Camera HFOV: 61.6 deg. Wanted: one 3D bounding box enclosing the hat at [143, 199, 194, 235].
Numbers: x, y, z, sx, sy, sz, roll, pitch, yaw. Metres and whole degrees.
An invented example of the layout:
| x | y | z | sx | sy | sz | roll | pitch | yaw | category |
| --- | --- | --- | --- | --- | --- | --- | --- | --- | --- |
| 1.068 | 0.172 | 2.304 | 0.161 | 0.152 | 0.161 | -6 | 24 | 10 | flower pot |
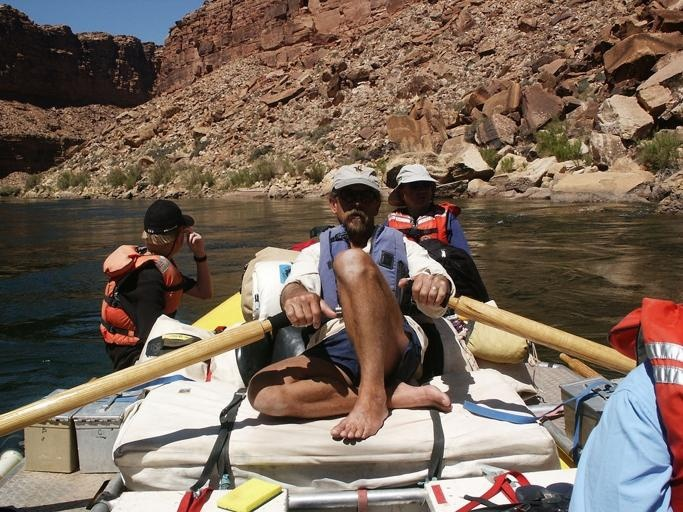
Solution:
| x | y | z | sx | sy | sz | roll | pitch | yaw | category |
| --- | --- | --- | --- | --- | --- | --- | --- | --- | --- |
| -1.006 | -0.223 | 3.290 | 0.221 | 0.131 | 0.293 | 5 | 17 | 22 | hat |

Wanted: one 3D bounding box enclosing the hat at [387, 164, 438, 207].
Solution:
| x | y | z | sx | sy | sz | roll | pitch | yaw | category |
| --- | --- | --- | --- | --- | --- | --- | --- | --- | --- |
| 0.471 | -0.506 | 3.818 | 0.321 | 0.148 | 0.341 | -3 | -14 | -5 | hat |

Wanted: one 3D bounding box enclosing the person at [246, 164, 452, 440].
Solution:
| x | y | z | sx | sy | sz | roll | pitch | yaw | category |
| --- | --- | --- | --- | --- | --- | --- | --- | --- | --- |
| 0.064 | 0.127 | 2.562 | 0.861 | 1.114 | 0.880 | -2 | 6 | 9 | person |

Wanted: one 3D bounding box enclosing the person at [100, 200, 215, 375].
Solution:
| x | y | z | sx | sy | sz | roll | pitch | yaw | category |
| --- | --- | --- | --- | --- | --- | --- | --- | --- | --- |
| -1.068 | 0.170 | 3.126 | 0.565 | 0.944 | 0.955 | -4 | 6 | -8 | person |
